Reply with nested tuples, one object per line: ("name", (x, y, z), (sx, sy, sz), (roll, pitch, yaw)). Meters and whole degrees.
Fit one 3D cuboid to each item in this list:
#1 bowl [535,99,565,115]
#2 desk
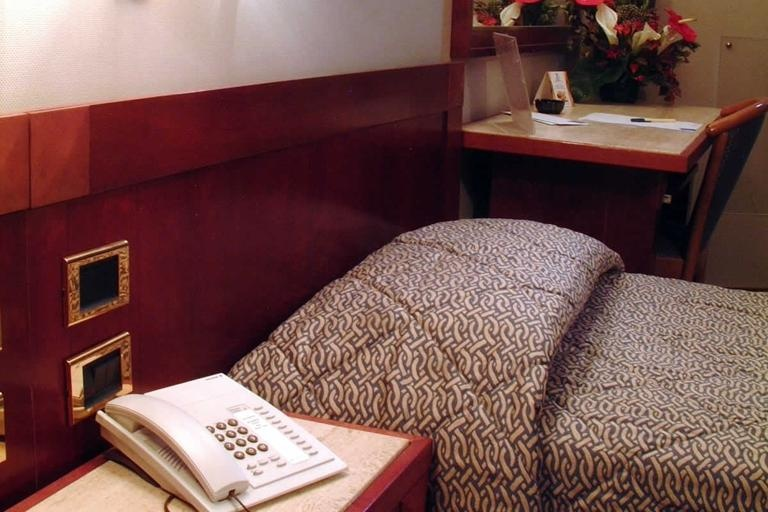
("bowl", (0.806, -0.713, 2.580), (0.103, 0.046, 0.086), (6, 12, 32))
("desk", (0.881, -0.429, 2.320), (0.856, 0.839, 0.668), (8, 26, 23))
